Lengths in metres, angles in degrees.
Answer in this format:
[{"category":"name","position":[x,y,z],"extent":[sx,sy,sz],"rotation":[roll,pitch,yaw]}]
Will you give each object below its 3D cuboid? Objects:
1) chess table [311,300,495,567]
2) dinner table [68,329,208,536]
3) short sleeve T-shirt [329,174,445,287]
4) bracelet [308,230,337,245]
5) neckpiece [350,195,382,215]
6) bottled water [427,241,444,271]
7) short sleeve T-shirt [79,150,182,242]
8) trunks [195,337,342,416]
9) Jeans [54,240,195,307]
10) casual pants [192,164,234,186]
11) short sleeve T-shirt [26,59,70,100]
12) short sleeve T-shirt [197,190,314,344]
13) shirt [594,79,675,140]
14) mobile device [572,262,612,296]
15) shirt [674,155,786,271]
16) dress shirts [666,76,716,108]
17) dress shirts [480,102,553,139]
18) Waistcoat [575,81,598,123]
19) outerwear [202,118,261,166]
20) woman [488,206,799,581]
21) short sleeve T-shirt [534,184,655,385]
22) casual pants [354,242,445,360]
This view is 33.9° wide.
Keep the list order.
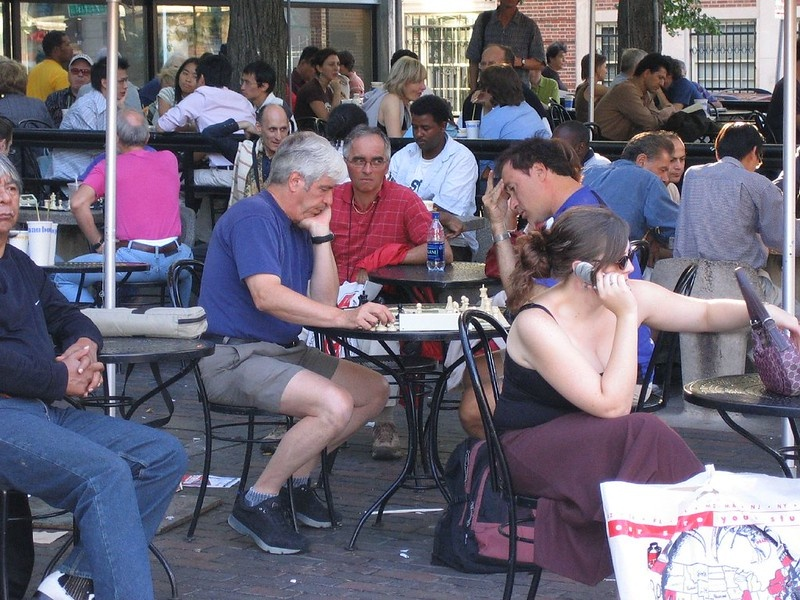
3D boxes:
[{"category":"chess table","position":[0.110,0.640,6.362],"extent":[0.740,0.861,0.764],"rotation":[-1,1,-6]},{"category":"dinner table","position":[-1.173,0.556,5.756],"extent":[0.751,0.846,0.767],"rotation":[4,6,12]},{"category":"short sleeve T-shirt","position":[-0.099,-0.359,7.299],"extent":[0.640,0.494,0.218],"rotation":[0,-4,6]},{"category":"bracelet","position":[-0.392,-0.294,6.296],"extent":[0.084,0.058,0.092],"rotation":[2,8,29]},{"category":"neckpiece","position":[-0.201,-0.535,7.531],"extent":[0.115,0.121,0.046],"rotation":[1,6,5]},{"category":"bottled water","position":[0.195,-0.239,7.130],"extent":[0.084,0.152,0.119],"rotation":[-1,13,-4]},{"category":"short sleeve T-shirt","position":[-1.746,-0.607,8.754],"extent":[0.748,0.686,0.382],"rotation":[-5,-9,-36]},{"category":"trunks","position":[-0.656,0.340,6.023],"extent":[0.448,0.196,0.354],"rotation":[0,-1,19]},{"category":"Jeans","position":[-1.773,-0.103,8.395],"extent":[1.075,0.276,1.092],"rotation":[-2,6,-25]},{"category":"casual pants","position":[-1.524,-1.004,10.706],"extent":[0.311,0.097,0.196],"rotation":[-6,36,19]},{"category":"short sleeve T-shirt","position":[-3.696,-2.219,13.338],"extent":[0.478,0.393,0.258],"rotation":[0,41,-27]},{"category":"short sleeve T-shirt","position":[-0.770,-0.155,6.318],"extent":[0.563,0.841,0.989],"rotation":[2,2,9]},{"category":"shirt","position":[2.149,-1.697,12.107],"extent":[0.759,0.793,0.530],"rotation":[-5,16,9]},{"category":"mobile device","position":[0.731,-0.078,5.031],"extent":[0.114,0.041,0.090],"rotation":[36,2,-36]},{"category":"shirt","position":[1.883,-0.463,7.446],"extent":[0.588,0.508,0.324],"rotation":[21,32,38]},{"category":"dress shirts","position":[3.078,-2.166,13.910],"extent":[0.283,0.369,0.838],"rotation":[-9,-1,43]},{"category":"dress shirts","position":[0.866,-1.355,10.042],"extent":[0.506,0.261,0.575],"rotation":[0,13,3]},{"category":"Waistcoat","position":[1.929,-2.061,13.854],"extent":[0.237,0.436,0.290],"rotation":[0,10,30]},{"category":"outerwear","position":[-1.429,-1.253,10.464],"extent":[0.263,0.349,0.556],"rotation":[2,16,39]},{"category":"woman","position":[0.910,0.339,5.798],"extent":[1.365,1.790,1.322],"rotation":[-4,1,43]},{"category":"short sleeve T-shirt","position":[0.852,-0.240,5.939],"extent":[0.453,0.431,0.567],"rotation":[-19,17,5]},{"category":"casual pants","position":[0.048,-0.001,7.490],"extent":[0.572,0.456,0.605],"rotation":[-1,15,7]}]
